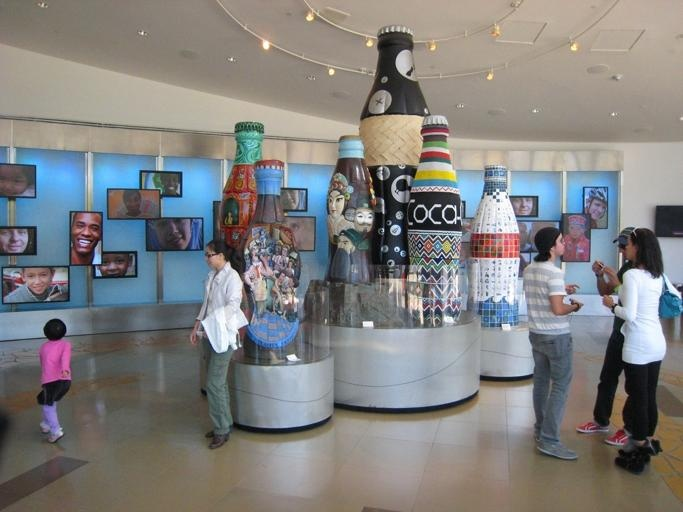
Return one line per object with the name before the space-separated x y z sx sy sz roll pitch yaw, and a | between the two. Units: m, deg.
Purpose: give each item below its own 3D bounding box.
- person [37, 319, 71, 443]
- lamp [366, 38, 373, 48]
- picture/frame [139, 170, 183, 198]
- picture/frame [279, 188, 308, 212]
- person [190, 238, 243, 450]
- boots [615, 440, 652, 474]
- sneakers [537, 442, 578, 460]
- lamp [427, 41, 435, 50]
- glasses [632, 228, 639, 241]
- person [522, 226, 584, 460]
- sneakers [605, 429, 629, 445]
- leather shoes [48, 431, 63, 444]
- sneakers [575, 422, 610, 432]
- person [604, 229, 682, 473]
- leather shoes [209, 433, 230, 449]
person | -2.648 1.085 4.650 0.265 1.064 0.576 -2 5 -31
lamp | 0.401 -3.171 7.524 0.084 0.114 0.088 2 25 11
picture/frame | -3.303 -1.305 9.159 0.503 0.367 0.050 0 0 -16
picture/frame | -0.928 -1.062 9.514 0.756 0.569 0.077 -2 4 -29
person | -1.078 0.751 4.573 0.414 1.775 0.465 -2 5 -25
boots | 2.356 1.624 4.143 0.141 0.281 0.406 0 -1 4
sneakers | 1.795 1.627 4.295 0.344 0.158 0.129 0 -3 16
lamp | 1.325 -3.116 7.506 0.120 0.084 0.125 0 17 13
glasses | 2.382 -0.175 4.128 0.054 0.077 0.074 10 -20 -5
person | 1.767 0.722 4.290 0.453 1.918 0.321 3 5 36
sneakers | 2.483 1.617 4.532 0.276 0.123 0.095 0 -6 -13
leather shoes | -2.538 1.605 4.504 0.131 0.060 0.065 -13 6 -13
sneakers | 2.320 1.608 4.711 0.278 0.108 0.114 4 -11 0
person | 2.435 0.745 4.133 0.515 1.926 0.326 -1 4 -18
leather shoes | -1.081 1.626 4.462 0.075 0.109 0.218 -2 -11 17
